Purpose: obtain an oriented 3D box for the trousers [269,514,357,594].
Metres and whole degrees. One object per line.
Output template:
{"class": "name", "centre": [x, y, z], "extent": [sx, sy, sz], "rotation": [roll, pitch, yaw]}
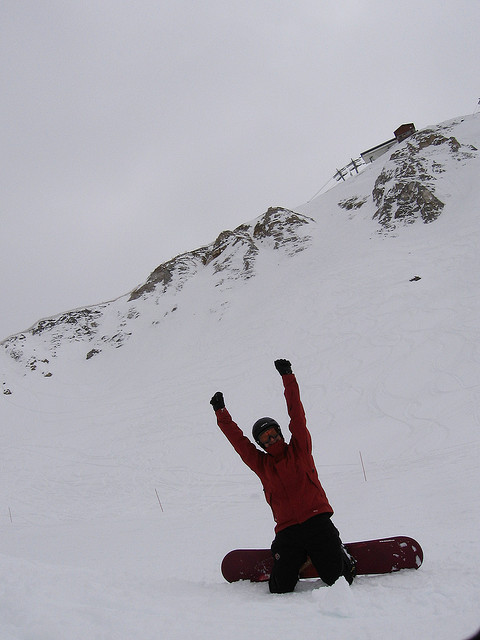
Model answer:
{"class": "trousers", "centre": [0.878, 3.143, 10.715], "extent": [1.030, 0.881, 0.376], "rotation": [-8, -3, 19]}
